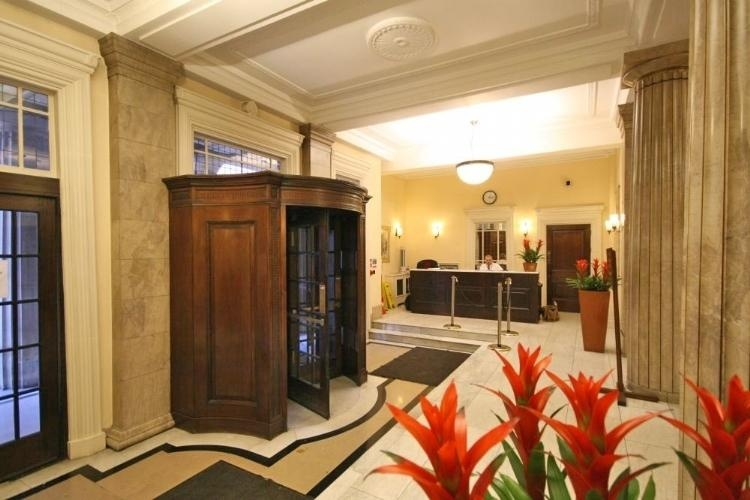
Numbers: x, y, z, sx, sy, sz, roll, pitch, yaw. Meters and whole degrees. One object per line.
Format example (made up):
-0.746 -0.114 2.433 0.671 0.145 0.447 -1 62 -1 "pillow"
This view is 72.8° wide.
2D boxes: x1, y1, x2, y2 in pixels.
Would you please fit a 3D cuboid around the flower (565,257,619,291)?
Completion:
3.461 0.359 8.084 0.513 0.464 0.852 1 9 24 "flower"

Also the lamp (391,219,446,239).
1.117 -0.527 13.224 1.336 0.499 0.638 -3 8 0 "lamp"

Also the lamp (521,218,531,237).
3.567 -0.520 12.102 0.235 0.412 0.095 -1 9 15 "lamp"

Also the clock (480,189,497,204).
2.788 -1.268 12.531 0.330 0.320 0.334 11 -11 -40 "clock"

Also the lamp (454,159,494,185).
1.853 -1.467 9.638 0.604 0.354 0.597 -1 -1 -3 "lamp"

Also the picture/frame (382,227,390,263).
0.257 -0.101 12.437 0.067 0.878 0.856 -2 -3 20 "picture/frame"

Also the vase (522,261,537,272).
3.119 0.344 10.195 0.213 0.187 0.218 -2 8 5 "vase"

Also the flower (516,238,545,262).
3.153 0.019 10.623 0.617 0.685 0.677 0 -3 31 "flower"
